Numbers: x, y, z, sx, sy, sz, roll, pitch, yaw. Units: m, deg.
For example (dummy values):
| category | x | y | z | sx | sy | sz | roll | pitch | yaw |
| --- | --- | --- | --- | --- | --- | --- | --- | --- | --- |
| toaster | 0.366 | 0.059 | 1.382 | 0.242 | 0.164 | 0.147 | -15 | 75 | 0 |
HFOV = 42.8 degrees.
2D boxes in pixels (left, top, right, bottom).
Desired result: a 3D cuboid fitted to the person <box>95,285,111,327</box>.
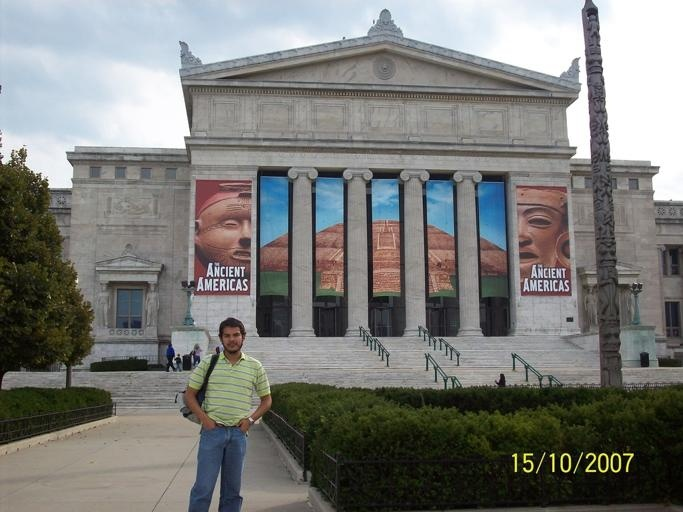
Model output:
| category | x | y | z | sx | sy | sz | roll | pitch | yaw |
| --- | --- | --- | --- | --- | --- | --- | --- | --- | --- |
| person | -13.891 | 2.815 | 50.726 | 0.882 | 2.503 | 1.437 | 0 | -4 | -16 |

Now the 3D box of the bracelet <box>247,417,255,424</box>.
| category | x | y | z | sx | sy | sz | roll | pitch | yaw |
| --- | --- | --- | --- | --- | --- | --- | --- | --- | --- |
| bracelet | -1.487 | 2.787 | 14.857 | 0.096 | 0.114 | 0.130 | -1 | 25 | -31 |

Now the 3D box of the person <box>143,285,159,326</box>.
| category | x | y | z | sx | sy | sz | roll | pitch | yaw |
| --- | --- | --- | --- | --- | --- | --- | --- | --- | --- |
| person | -11.065 | 2.809 | 50.884 | 0.609 | 2.405 | 0.797 | -1 | -4 | -5 |

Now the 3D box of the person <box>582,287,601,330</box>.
| category | x | y | z | sx | sy | sz | roll | pitch | yaw |
| --- | --- | --- | --- | --- | --- | --- | --- | --- | --- |
| person | 15.514 | 3.107 | 52.981 | 0.745 | 2.622 | 1.051 | -1 | -4 | 5 |
